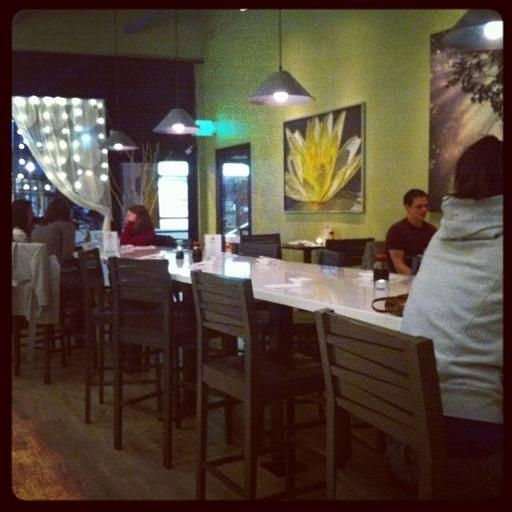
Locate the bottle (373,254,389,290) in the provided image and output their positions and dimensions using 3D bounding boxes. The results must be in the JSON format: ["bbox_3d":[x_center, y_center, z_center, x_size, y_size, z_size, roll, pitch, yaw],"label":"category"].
[{"bbox_3d":[0.500,0.059,2.000,0.050,0.129,0.174,1,6,13],"label":"bottle"}]

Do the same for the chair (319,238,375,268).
[{"bbox_3d":[0.822,-0.043,4.681,0.400,0.265,0.399,-1,2,-28],"label":"chair"}]

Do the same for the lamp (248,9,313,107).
[{"bbox_3d":[0.163,-1.446,3.406,0.435,0.769,0.434,-1,1,-23],"label":"lamp"}]

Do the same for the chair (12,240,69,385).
[{"bbox_3d":[-1.472,0.360,3.395,0.585,0.914,0.318,6,9,44],"label":"chair"}]

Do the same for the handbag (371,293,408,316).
[{"bbox_3d":[0.425,0.158,1.567,0.095,0.028,0.065,-2,20,-20],"label":"handbag"}]

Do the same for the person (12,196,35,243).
[{"bbox_3d":[-1.444,-0.207,3.080,0.127,0.284,0.849,-3,7,-26],"label":"person"}]

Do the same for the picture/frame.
[{"bbox_3d":[0.759,-1.068,5.377,0.049,0.976,1.280,-2,2,-25],"label":"picture/frame"}]

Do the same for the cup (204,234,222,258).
[{"bbox_3d":[-0.304,-0.068,3.503,0.141,0.218,0.073,5,9,35],"label":"cup"}]
